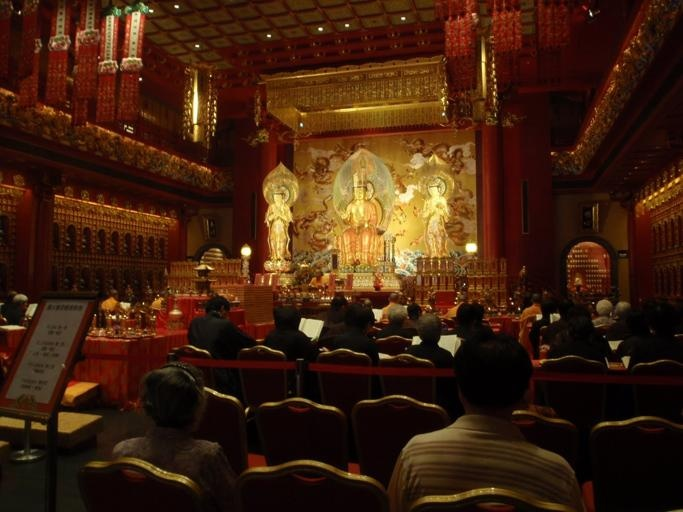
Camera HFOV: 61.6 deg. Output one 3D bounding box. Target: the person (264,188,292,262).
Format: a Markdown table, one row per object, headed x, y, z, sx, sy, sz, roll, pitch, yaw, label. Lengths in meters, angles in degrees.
| x | y | z | sx | sy | sz | roll | pitch | yaw | label |
| --- | --- | --- | --- | --- | --- | --- | --- | --- | --- |
| -1.574 | -0.750 | 14.286 | 0.575 | 1.804 | 0.571 | 2 | -9 | -7 | person |
